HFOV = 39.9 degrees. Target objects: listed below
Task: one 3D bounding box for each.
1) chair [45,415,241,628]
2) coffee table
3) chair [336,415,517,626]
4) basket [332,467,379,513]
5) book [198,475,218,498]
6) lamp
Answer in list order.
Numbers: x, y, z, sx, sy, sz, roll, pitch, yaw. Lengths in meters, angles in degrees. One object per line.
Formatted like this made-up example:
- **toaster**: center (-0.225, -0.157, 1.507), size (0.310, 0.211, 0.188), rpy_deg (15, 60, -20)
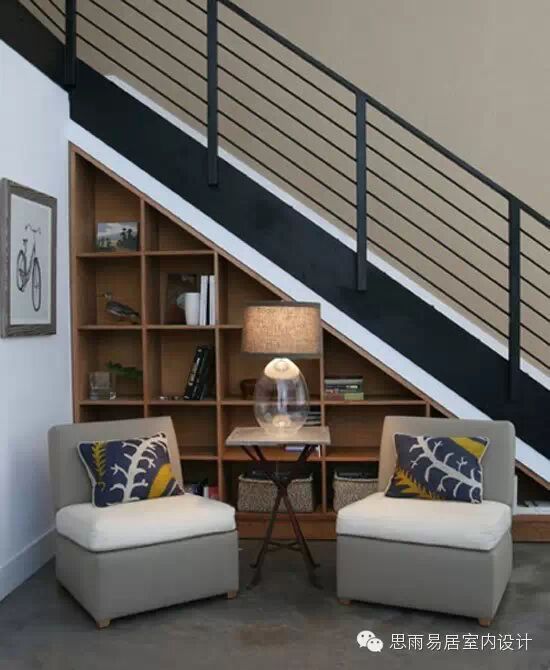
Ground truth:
- **chair**: center (-0.610, 0.804, 3.659), size (0.722, 0.902, 0.816), rpy_deg (2, -7, -34)
- **coffee table**: center (0.040, 0.843, 3.835), size (0.605, 0.967, 0.647), rpy_deg (0, -4, 4)
- **chair**: center (0.712, 0.819, 3.635), size (0.724, 0.915, 0.817), rpy_deg (-2, -7, 25)
- **basket**: center (0.456, 0.887, 4.415), size (0.211, 0.234, 0.229), rpy_deg (0, -2, 10)
- **book**: center (-0.405, 0.917, 4.589), size (0.078, 0.161, 0.087), rpy_deg (0, 1, -5)
- **lamp**: center (0.028, 0.169, 3.599), size (0.368, 0.669, 0.258), rpy_deg (0, 8, 1)
